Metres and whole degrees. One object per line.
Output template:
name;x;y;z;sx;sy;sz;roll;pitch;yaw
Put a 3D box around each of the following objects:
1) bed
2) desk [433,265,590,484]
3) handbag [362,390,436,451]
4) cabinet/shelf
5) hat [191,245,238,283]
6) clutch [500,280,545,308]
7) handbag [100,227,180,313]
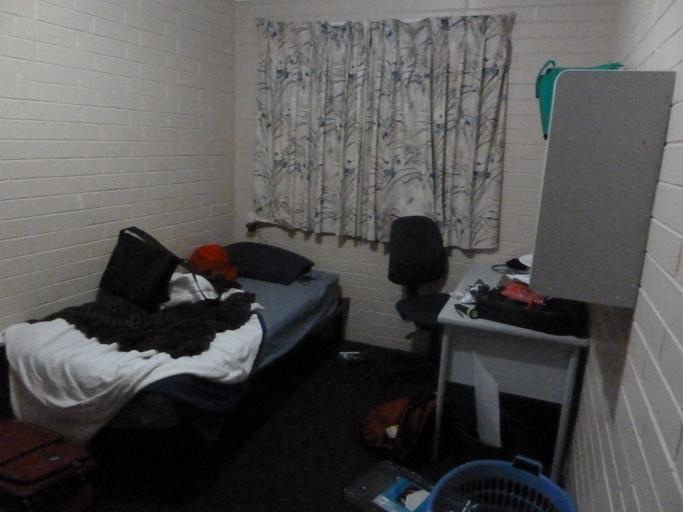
bed;-0.876;0.496;2.761;0.990;0.408;1.592;12;19;33
desk;0.775;0.557;2.780;0.896;0.872;1.039;4;11;14
handbag;0.312;0.897;2.648;0.356;0.105;0.259;-13;19;-20
cabinet/shelf;0.883;-0.232;1.675;0.364;0.788;0.156;7;19;18
hat;-0.928;0.012;3.427;0.247;0.208;0.288;9;3;11
clutch;0.874;0.183;2.392;0.137;0.042;0.188;-12;17;-20
handbag;-1.198;0.103;2.813;0.499;0.440;0.173;22;-6;16
